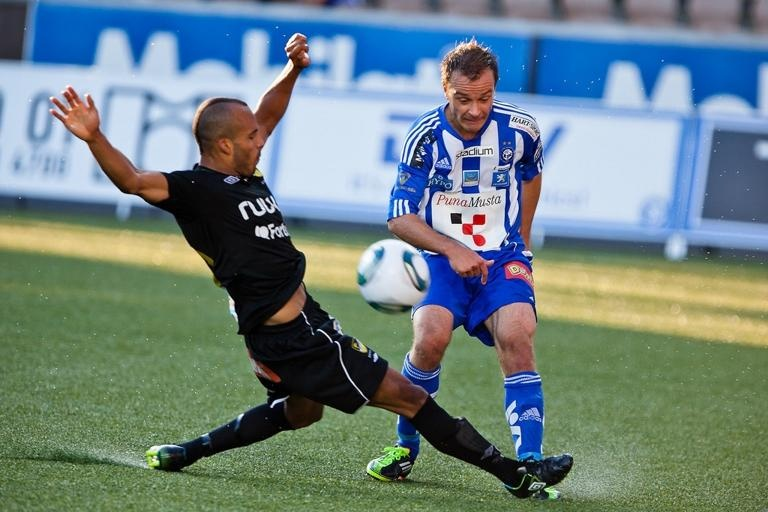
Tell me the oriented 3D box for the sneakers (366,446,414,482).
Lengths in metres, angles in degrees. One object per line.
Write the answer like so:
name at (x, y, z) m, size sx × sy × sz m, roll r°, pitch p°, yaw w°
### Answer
sneakers at (0.073, 1.637, 8.169) m, size 0.200 × 0.249 × 0.514 m, roll 16°, pitch 6°, yaw 43°
